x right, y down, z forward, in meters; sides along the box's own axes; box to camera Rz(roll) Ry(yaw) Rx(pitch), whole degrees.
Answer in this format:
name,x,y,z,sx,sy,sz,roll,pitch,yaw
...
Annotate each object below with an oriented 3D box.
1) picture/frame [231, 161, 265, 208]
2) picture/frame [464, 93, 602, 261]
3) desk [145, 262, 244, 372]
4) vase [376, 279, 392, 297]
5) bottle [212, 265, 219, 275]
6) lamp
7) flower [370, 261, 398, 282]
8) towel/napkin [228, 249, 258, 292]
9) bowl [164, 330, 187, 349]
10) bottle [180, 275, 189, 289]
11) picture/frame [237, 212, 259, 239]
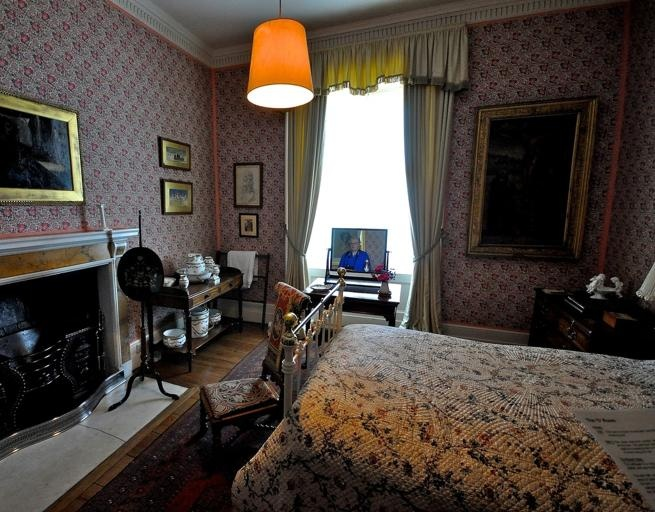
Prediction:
name,x,y,z,sx,sy,sz,roll,pitch,yaw
picture/frame,-0.937,-0.871,5.537,0.537,0.720,0.054,1,6,9
picture/frame,2.117,-0.835,4.636,1.535,2.135,0.151,4,8,21
desk,-1.340,0.579,4.986,0.433,0.782,1.093,6,12,18
vase,0.558,0.331,4.614,0.139,0.163,0.145,1,0,-4
bottle,-1.223,0.162,5.109,0.077,0.096,0.079,-1,-1,32
lamp,-0.353,-1.434,3.453,0.490,0.582,0.451,0,9,-8
flower,0.583,0.164,4.697,0.185,0.137,0.185,0,-1,-3
towel/napkin,-1.013,0.154,5.503,0.484,0.624,0.223,-1,-3,13
bowl,-1.527,0.832,4.593,0.191,0.121,0.181,0,-2,0
bottle,-1.394,0.249,4.520,0.094,0.126,0.123,0,-9,-14
picture/frame,-0.956,-0.383,5.627,0.298,0.350,0.025,3,14,14
